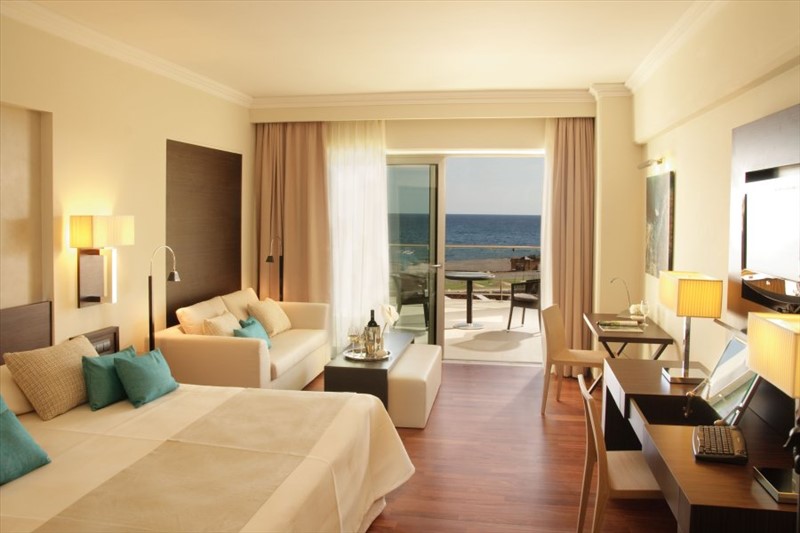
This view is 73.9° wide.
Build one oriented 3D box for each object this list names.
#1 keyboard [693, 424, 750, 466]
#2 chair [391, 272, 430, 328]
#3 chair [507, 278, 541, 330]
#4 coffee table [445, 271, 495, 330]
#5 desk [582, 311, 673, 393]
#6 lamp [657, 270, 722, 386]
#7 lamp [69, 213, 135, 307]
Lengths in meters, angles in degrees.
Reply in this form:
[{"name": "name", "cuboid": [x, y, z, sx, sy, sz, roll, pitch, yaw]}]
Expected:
[{"name": "keyboard", "cuboid": [1.784, 0.982, 2.972, 0.250, 0.057, 0.374, -3, 7, 30]}, {"name": "chair", "cuboid": [0.154, 0.435, 7.486, 0.634, 0.894, 0.617, -2, 0, 6]}, {"name": "chair", "cuboid": [1.992, 0.576, 8.626, 0.532, 0.972, 1.728, 2, 9, 12]}, {"name": "coffee table", "cuboid": [1.084, 0.514, 8.384, 0.939, 1.004, 0.913, 0, -2, -3]}, {"name": "desk", "cuboid": [2.228, 0.639, 5.252, 0.678, 0.631, 1.288, 0, 2, 13]}, {"name": "lamp", "cuboid": [2.286, 0.483, 4.181, 0.279, 0.881, 0.867, 2, 2, 19]}, {"name": "lamp", "cuboid": [-2.634, -0.058, 4.729, 0.508, 0.807, 0.305, -7, 12, -36]}]
